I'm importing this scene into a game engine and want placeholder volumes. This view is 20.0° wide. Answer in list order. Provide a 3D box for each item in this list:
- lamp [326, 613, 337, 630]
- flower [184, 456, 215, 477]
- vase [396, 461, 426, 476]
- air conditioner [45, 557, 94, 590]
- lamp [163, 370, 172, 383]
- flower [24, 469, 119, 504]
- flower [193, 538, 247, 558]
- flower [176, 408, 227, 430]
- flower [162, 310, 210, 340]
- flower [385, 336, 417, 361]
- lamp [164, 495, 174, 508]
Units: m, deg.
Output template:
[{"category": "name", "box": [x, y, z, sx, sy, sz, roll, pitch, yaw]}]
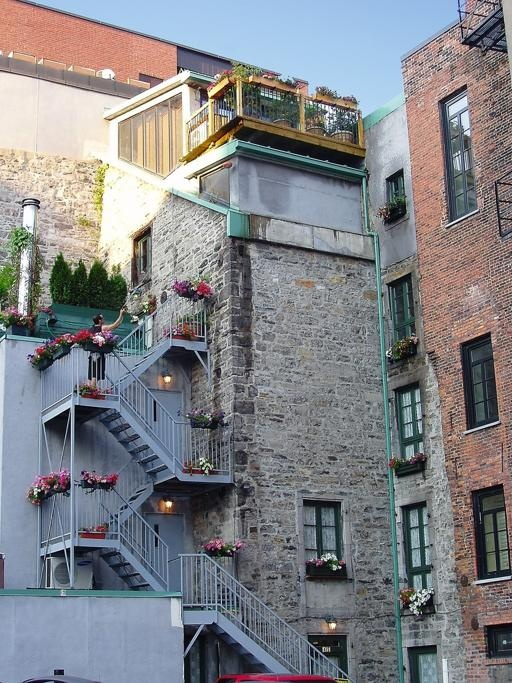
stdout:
[{"category": "lamp", "box": [1.283, 4.784, 24.629, 0.115, 0.267, 0.256, -15, -20, 39]}, {"category": "flower", "box": [-0.952, 2.139, 24.581, 0.336, 0.275, 0.337, 2, -10, -6]}, {"category": "vase", "box": [2.669, 2.240, 25.447, 0.109, 0.223, 1.021, 5, -18, -23]}, {"category": "air conditioner", "box": [-3.160, 3.874, 24.189, 0.583, 0.409, 0.305, 11, -24, -31]}, {"category": "lamp", "box": [-1.623, 0.639, 26.589, 0.179, 0.226, 0.089, 7, -17, -28]}, {"category": "flower", "box": [-3.164, 2.397, 24.421, 1.004, 0.465, 1.796, 9, -20, -32]}, {"category": "flower", "box": [-0.534, 3.411, 24.050, 0.644, 0.318, 0.509, -2, -16, 1]}, {"category": "flower", "box": [-0.853, 1.330, 24.953, 0.640, 0.330, 0.494, -1, -16, -3]}, {"category": "flower", "box": [-1.210, -0.266, 25.922, 0.507, 0.381, 0.710, -1, -10, -7]}, {"category": "flower", "box": [2.632, 0.113, 26.128, 0.262, 0.329, 0.877, -4, -16, -19]}, {"category": "lamp", "box": [-1.556, 2.854, 25.861, 0.158, 0.181, 0.169, 0, -1, 5]}]
